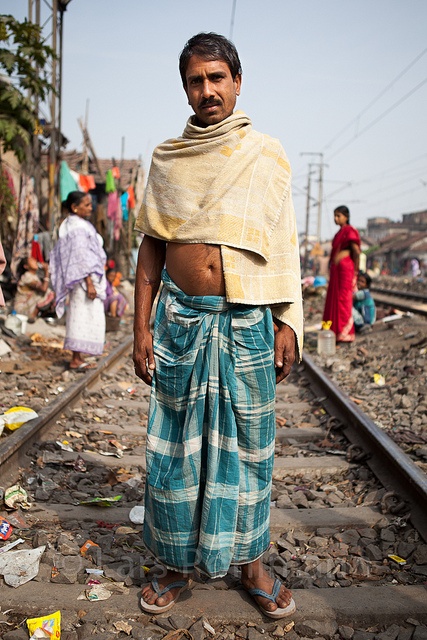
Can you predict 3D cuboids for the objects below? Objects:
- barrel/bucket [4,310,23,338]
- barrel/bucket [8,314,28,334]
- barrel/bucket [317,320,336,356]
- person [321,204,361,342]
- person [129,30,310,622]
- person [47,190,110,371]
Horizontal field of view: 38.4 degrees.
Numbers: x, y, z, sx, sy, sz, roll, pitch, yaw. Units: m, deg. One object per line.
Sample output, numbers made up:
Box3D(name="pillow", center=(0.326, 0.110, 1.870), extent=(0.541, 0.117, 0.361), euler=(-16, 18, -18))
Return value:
Box3D(name="barrel/bucket", center=(-2.404, 0.062, 7.341), extent=(0.248, 0.377, 0.244), euler=(3, 11, -1))
Box3D(name="barrel/bucket", center=(-2.442, 0.064, 7.598), extent=(0.258, 0.332, 0.213), euler=(0, 12, -7))
Box3D(name="barrel/bucket", center=(1.462, 0.219, 7.870), extent=(0.232, 0.420, 0.679), euler=(3, 7, 11))
Box3D(name="person", center=(1.735, -0.602, 8.227), extent=(0.444, 1.815, 0.610), euler=(3, 8, 10))
Box3D(name="person", center=(-0.019, -0.050, 2.277), extent=(0.678, 2.017, 0.435), euler=(3, 9, 13))
Box3D(name="person", center=(-1.360, -0.447, 6.154), extent=(0.544, 1.659, 0.430), euler=(-1, 9, -13))
